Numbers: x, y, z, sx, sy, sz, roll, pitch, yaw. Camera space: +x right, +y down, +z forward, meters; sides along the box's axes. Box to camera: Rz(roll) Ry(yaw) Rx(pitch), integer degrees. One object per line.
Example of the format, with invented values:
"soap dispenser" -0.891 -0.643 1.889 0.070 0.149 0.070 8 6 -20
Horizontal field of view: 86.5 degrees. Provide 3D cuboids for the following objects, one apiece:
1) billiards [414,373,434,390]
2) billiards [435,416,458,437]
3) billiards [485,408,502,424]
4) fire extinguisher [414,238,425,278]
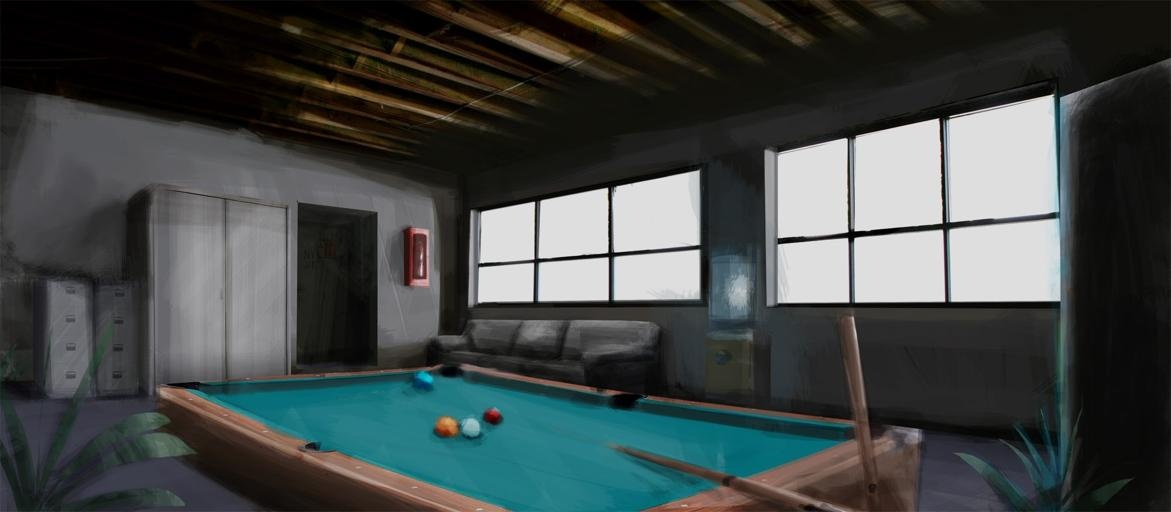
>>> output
"billiards" -0.789 0.614 3.050 0.106 0.057 0.097 -2 -4 22
"billiards" -0.633 0.787 2.844 0.098 0.046 0.096 7 -15 14
"billiards" -0.422 0.746 2.899 0.080 0.044 0.072 2 0 16
"fire extinguisher" -0.798 0.017 3.023 0.069 0.190 0.012 0 -7 16
